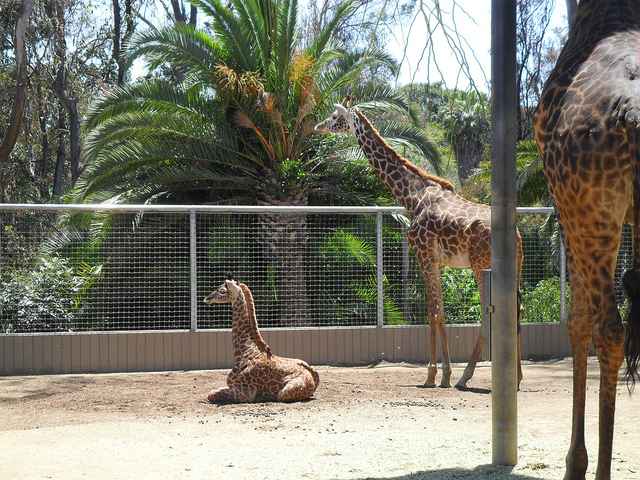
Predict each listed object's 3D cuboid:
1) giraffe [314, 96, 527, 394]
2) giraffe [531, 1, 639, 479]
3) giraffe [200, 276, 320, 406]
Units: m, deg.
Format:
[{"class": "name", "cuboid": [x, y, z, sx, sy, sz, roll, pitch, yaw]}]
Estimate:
[{"class": "giraffe", "cuboid": [1.627, 0.088, 14.635, 2.714, 4.328, 6.770, 0, 11, 3]}, {"class": "giraffe", "cuboid": [2.929, 0.015, 10.724, 1.028, 5.154, 1.496, 1, 9, 12]}, {"class": "giraffe", "cuboid": [-0.686, 1.678, 14.258, 1.785, 2.195, 1.112, 2, -12, 3]}]
